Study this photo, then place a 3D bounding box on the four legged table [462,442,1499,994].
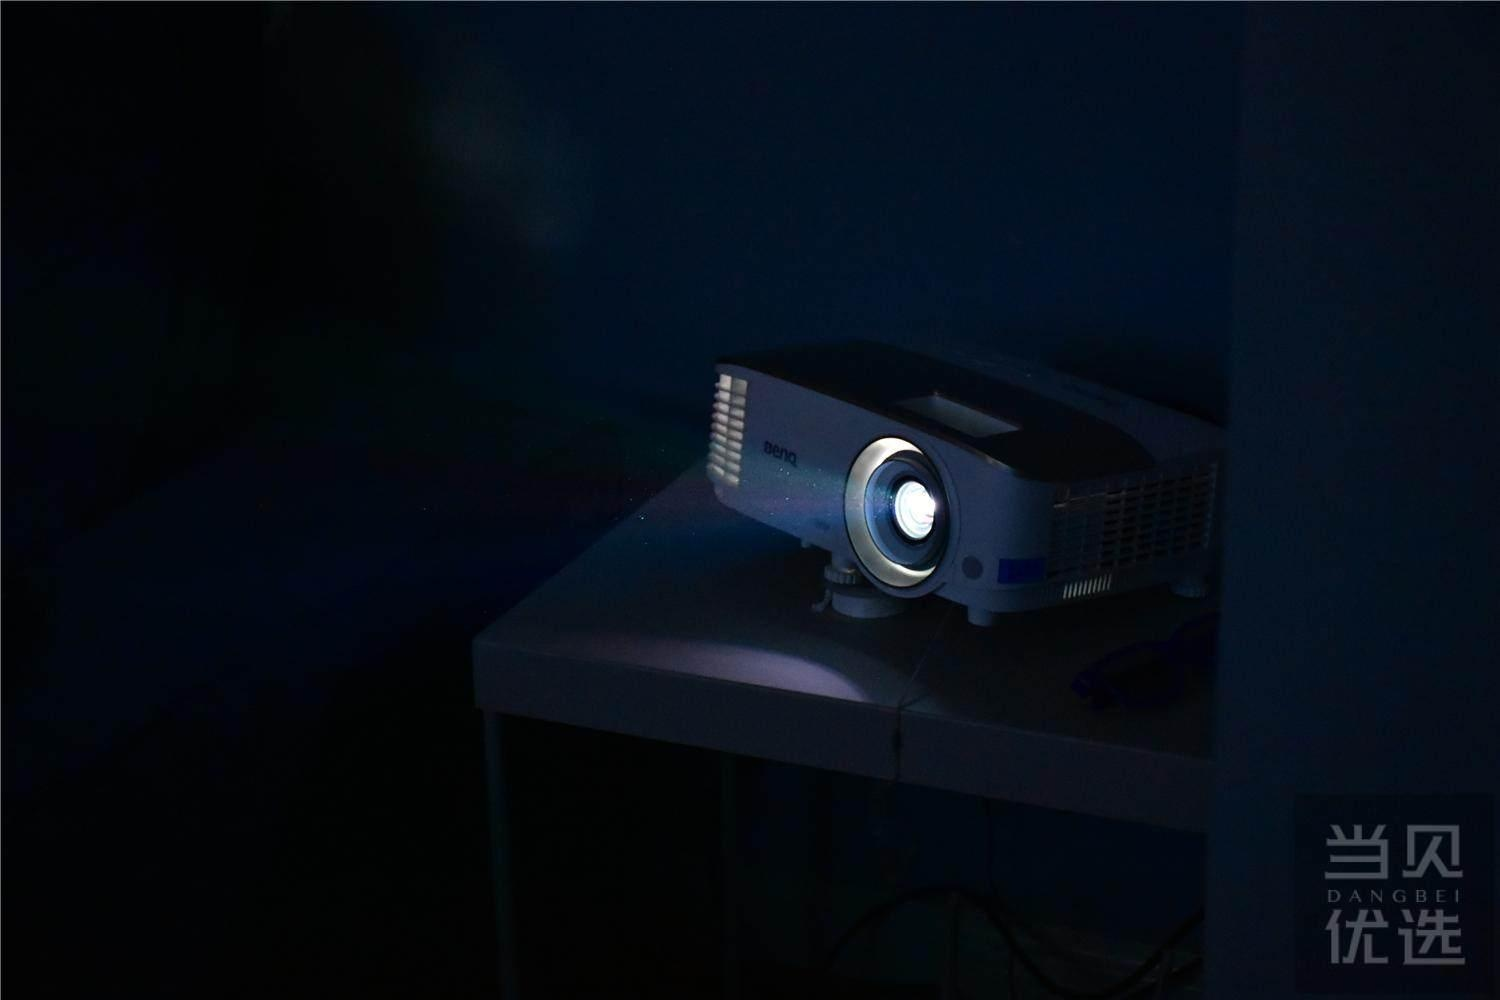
[{"bbox_3d":[0.121,0.087,1.174,0.566,0.547,0.445,13,28,23],"label":"four legged table"}]
